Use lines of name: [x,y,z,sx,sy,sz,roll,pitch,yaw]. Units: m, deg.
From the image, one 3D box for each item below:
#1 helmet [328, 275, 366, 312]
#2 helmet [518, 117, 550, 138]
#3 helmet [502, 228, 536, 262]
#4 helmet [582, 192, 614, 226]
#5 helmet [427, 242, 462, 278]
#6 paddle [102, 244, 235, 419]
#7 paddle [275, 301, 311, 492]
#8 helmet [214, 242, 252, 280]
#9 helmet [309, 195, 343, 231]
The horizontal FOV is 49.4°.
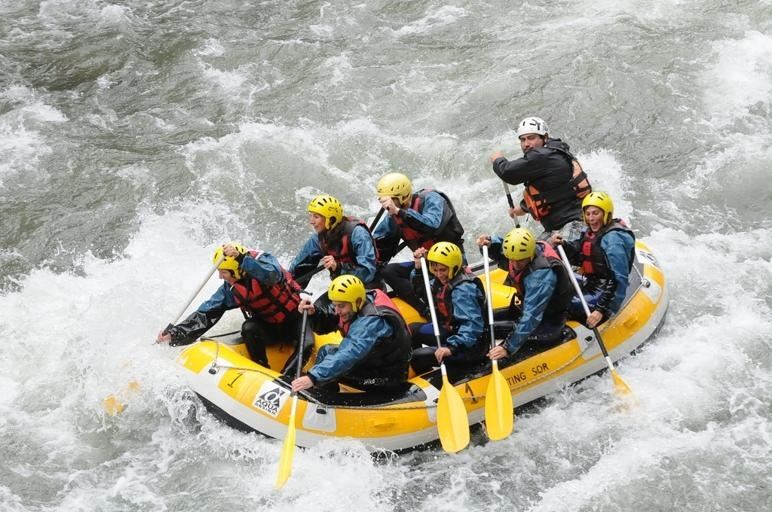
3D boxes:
helmet: [-0.476,0.461,11.167,0.558,0.417,0.476,-10,111,-26]
helmet: [2.293,-1.974,12.936,0.440,0.395,0.393,0,72,3]
helmet: [1.860,-0.152,11.522,0.444,0.516,0.417,7,85,-1]
helmet: [3.088,-0.698,12.067,0.510,0.425,0.459,3,96,37]
helmet: [0.829,0.025,11.470,0.405,0.552,0.461,20,109,44]
paddle: [-3.100,1.189,12.092,0.335,0.400,2.812,36,76,5]
paddle: [-1.182,1.833,11.161,0.220,0.139,2.515,7,59,2]
helmet: [-2.101,0.058,11.680,0.503,0.378,0.466,24,84,-14]
helmet: [-0.827,-0.646,12.087,0.527,0.475,0.467,7,107,6]
